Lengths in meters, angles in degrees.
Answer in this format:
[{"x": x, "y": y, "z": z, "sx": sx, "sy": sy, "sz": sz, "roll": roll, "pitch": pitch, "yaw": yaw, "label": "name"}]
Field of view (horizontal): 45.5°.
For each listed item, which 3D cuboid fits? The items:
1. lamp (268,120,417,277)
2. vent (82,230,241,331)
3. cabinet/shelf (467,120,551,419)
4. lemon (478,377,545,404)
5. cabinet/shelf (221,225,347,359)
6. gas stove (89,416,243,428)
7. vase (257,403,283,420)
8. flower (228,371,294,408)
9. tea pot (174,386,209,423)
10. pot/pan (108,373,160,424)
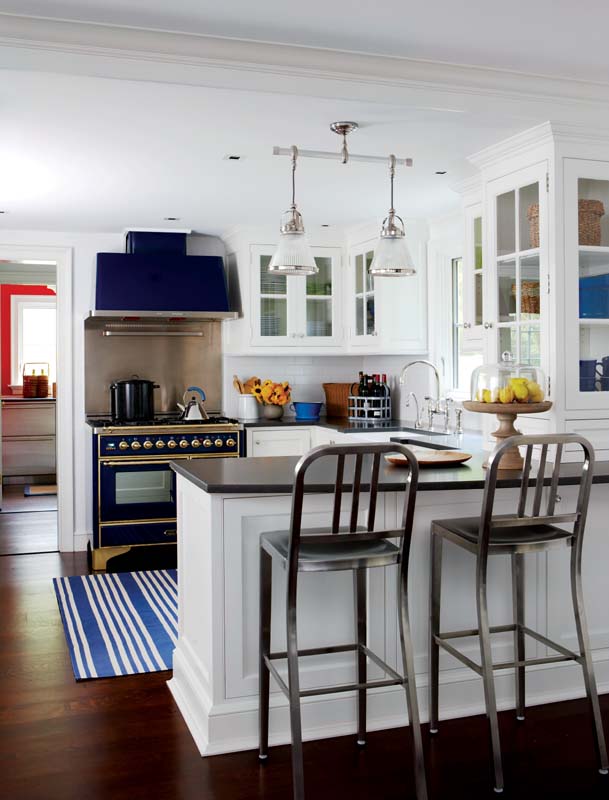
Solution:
[{"x": 0.143, "y": -0.764, "z": 2.792, "sx": 0.609, "sy": 0.546, "sz": 0.171, "roll": -4, "pitch": 14, "yaw": -22, "label": "lamp"}, {"x": -1.013, "y": -0.859, "z": 5.225, "sx": 1.140, "sy": 0.658, "sz": 0.664, "roll": 0, "pitch": -3, "yaw": -18, "label": "vent"}, {"x": 0.980, "y": -0.499, "z": 3.350, "sx": 0.241, "sy": 1.225, "sz": 0.623, "roll": 14, "pitch": -16, "yaw": -31, "label": "cabinet/shelf"}, {"x": 0.764, "y": -0.039, "z": 2.718, "sx": 0.242, "sy": 0.106, "sz": 0.111, "roll": -1, "pitch": -1, "yaw": 9, "label": "lemon"}, {"x": -0.150, "y": -0.790, "z": 5.549, "sx": 0.884, "sy": 0.826, "sz": 0.408, "roll": -4, "pitch": 9, "yaw": -32, "label": "cabinet/shelf"}, {"x": -1.032, "y": 0.159, "z": 5.242, "sx": 1.019, "sy": 0.089, "sz": 0.655, "roll": -1, "pitch": -1, "yaw": -20, "label": "gas stove"}, {"x": -0.279, "y": 0.092, "z": 5.654, "sx": 0.138, "sy": 0.097, "sz": 0.137, "roll": 0, "pitch": 3, "yaw": 16, "label": "vase"}, {"x": -0.353, "y": -0.087, "z": 5.659, "sx": 0.375, "sy": 0.157, "sz": 0.238, "roll": 7, "pitch": 11, "yaw": 31, "label": "flower"}, {"x": -0.827, "y": 0.042, "z": 5.407, "sx": 0.288, "sy": 0.272, "sz": 0.232, "roll": 0, "pitch": 4, "yaw": -11, "label": "tea pot"}, {"x": -1.245, "y": 0.000, "z": 5.274, "sx": 0.323, "sy": 0.289, "sz": 0.311, "roll": -1, "pitch": -3, "yaw": 1, "label": "pot/pan"}]
